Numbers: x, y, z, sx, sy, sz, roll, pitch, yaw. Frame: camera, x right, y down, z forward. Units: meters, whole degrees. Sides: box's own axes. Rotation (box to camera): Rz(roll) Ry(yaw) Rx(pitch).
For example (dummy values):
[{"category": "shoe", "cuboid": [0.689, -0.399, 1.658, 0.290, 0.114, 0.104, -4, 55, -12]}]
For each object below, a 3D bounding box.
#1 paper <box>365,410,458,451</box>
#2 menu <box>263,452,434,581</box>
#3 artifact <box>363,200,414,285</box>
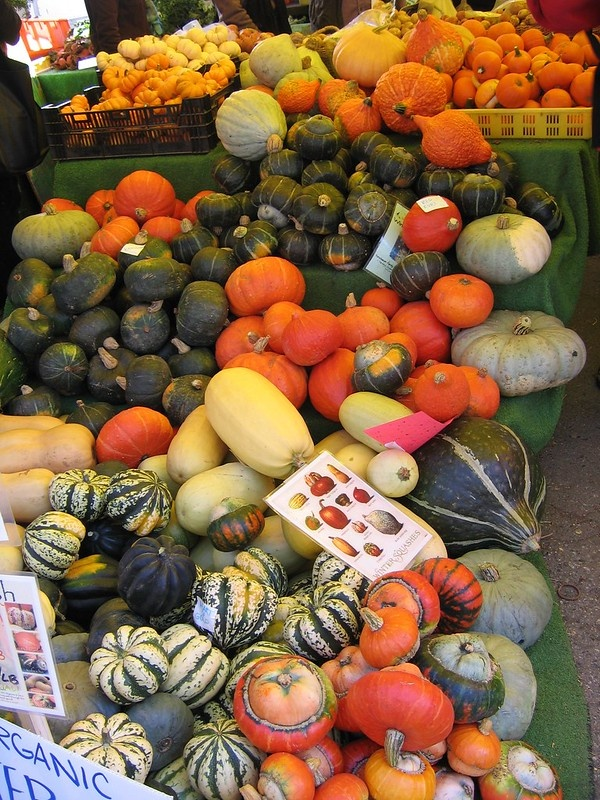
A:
[{"category": "paper", "cuboid": [0.384, 0.108, 2.064, 0.206, 0.167, 0.074, -36, 32, 2]}, {"category": "menu", "cuboid": [0.116, 0.351, 1.809, 0.431, 0.085, 0.308, 36, 38, 14]}, {"category": "artifact", "cuboid": [0.413, -0.714, 2.842, 0.094, 0.332, 0.319, 17, 79, 38]}]
